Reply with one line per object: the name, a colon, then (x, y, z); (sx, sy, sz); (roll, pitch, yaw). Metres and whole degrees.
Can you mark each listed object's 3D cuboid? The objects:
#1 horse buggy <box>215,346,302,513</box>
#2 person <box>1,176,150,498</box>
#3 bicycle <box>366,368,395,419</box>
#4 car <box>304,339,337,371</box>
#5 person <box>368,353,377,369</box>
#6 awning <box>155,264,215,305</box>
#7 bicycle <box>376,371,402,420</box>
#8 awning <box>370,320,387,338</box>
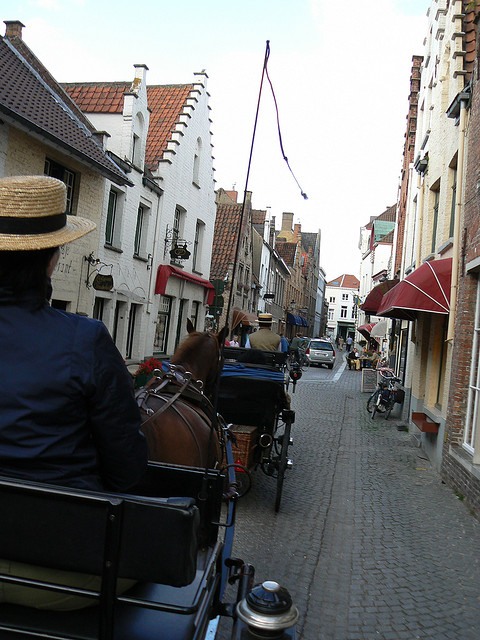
horse buggy: (0.057, 1.135, 6.648); (1.304, 1.508, 2.052); (8, 5, 1)
person: (-0.548, 0.057, 1.796); (0.528, 0.919, 0.312); (5, -3, -12)
bicycle: (3.732, 1.888, 14.518); (0.705, 0.890, 1.516); (4, -13, 33)
car: (5.132, 2.073, 35.624); (1.888, 1.068, 1.366); (5, -2, -5)
person: (6.931, 2.178, 29.110); (0.301, 0.829, 0.230); (19, -6, 8)
awning: (-2.269, -1.443, 24.172); (0.675, 1.095, 4.770); (4, -3, 20)
bicycle: (4.100, 2.008, 14.685); (0.740, 0.934, 1.538); (20, 12, 14)
awning: (7.051, 0.444, 27.954); (0.668, 0.787, 1.462); (5, -2, -7)
